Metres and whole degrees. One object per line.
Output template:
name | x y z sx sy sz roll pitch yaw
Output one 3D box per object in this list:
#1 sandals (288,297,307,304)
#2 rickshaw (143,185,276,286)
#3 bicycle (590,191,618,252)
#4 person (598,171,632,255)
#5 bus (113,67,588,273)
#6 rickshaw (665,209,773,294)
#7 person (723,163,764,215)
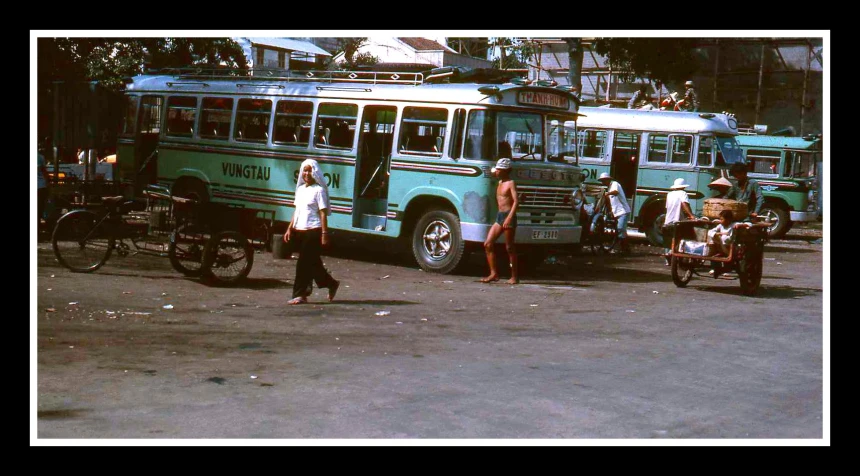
sandals | -2.732 1.280 14.127 0.418 0.142 0.136 4 -2 -14
rickshaw | -4.713 0.290 16.278 3.300 1.915 2.312 6 5 -35
bicycle | 5.375 -0.506 21.551 1.097 1.859 0.603 -8 16 -39
person | 5.910 -0.766 21.980 0.957 2.375 1.255 1 1 35
bus | -0.917 -2.511 20.015 15.644 4.924 5.897 8 12 33
rickshaw | 6.975 0.335 16.609 1.942 2.095 0.797 7 13 23
person | 7.323 -1.131 15.917 1.282 1.374 0.627 3 -1 9
